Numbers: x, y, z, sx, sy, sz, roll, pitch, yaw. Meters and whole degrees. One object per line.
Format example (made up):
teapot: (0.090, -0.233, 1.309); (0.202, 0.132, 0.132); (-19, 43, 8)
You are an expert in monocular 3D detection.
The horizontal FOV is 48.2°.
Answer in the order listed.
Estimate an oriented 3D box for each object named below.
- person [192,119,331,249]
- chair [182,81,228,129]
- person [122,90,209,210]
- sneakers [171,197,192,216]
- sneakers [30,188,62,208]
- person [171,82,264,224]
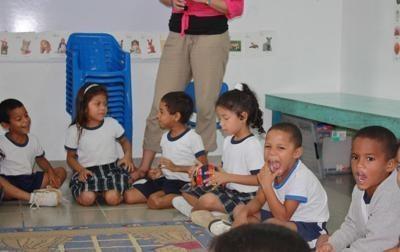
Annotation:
person: (0.317, 0.312, 3.005); (0.853, 1.091, 0.602); (6, 5, -9)
chair: (-0.017, -0.195, 4.133); (0.440, 0.600, 0.438); (2, 4, 10)
person: (-0.228, 0.124, 3.767); (0.843, 1.090, 0.718); (-2, 8, -25)
sneakers: (-0.128, 0.559, 3.153); (0.055, 0.080, 0.151); (26, 21, -49)
sneakers: (-1.128, 0.526, 3.285); (0.129, 0.085, 0.178); (1, 6, 12)
person: (0.001, 0.144, 3.379); (0.795, 1.034, 0.905); (0, 3, -7)
